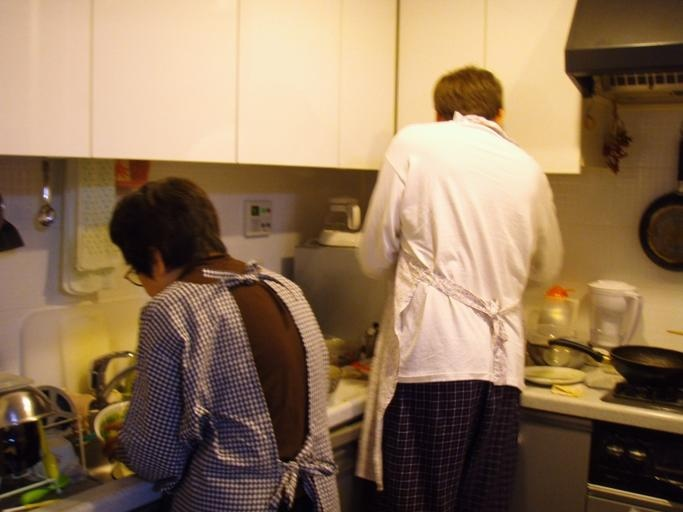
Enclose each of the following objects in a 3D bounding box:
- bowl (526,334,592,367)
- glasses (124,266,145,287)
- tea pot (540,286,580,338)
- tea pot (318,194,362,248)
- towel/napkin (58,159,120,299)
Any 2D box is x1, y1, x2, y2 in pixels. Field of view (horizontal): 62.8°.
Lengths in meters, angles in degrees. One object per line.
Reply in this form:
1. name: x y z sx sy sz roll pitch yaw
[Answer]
1. bowl: 0.797 0.341 2.082 0.148 0.060 0.133 5 -4 -28
2. glasses: -0.596 0.058 1.603 0.015 0.050 0.051 -35 -15 7
3. tea pot: 0.851 0.197 2.203 0.129 0.156 0.216 -1 24 14
4. tea pot: 0.019 -0.123 2.402 0.239 0.247 0.239 4 0 0
5. towel/napkin: -0.814 -0.129 1.869 0.044 0.438 0.242 6 12 11
